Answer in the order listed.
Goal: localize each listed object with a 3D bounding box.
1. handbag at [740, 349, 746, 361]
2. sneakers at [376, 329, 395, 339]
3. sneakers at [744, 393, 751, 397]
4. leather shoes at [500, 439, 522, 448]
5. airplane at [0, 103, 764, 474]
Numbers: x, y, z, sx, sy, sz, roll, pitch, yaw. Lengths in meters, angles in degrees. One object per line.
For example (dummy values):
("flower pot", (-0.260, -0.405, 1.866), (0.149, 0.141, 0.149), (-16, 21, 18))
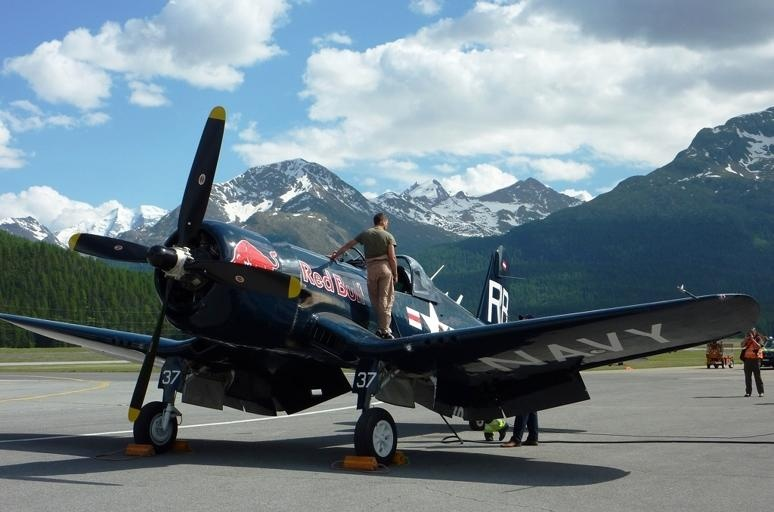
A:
("handbag", (11.089, 3.037, 21.546), (0.229, 0.338, 0.266), (2, -20, 12))
("sneakers", (0.006, 1.312, 11.731), (0.157, 0.112, 0.261), (-3, -33, 43))
("sneakers", (10.987, 4.185, 21.068), (0.142, 0.056, 0.185), (-10, 3, -41))
("leather shoes", (2.321, 3.455, 12.924), (0.427, 0.136, 0.135), (3, -5, 3))
("airplane", (-0.442, 0.530, 11.766), (10.061, 5.639, 4.302), (2, -5, 2))
